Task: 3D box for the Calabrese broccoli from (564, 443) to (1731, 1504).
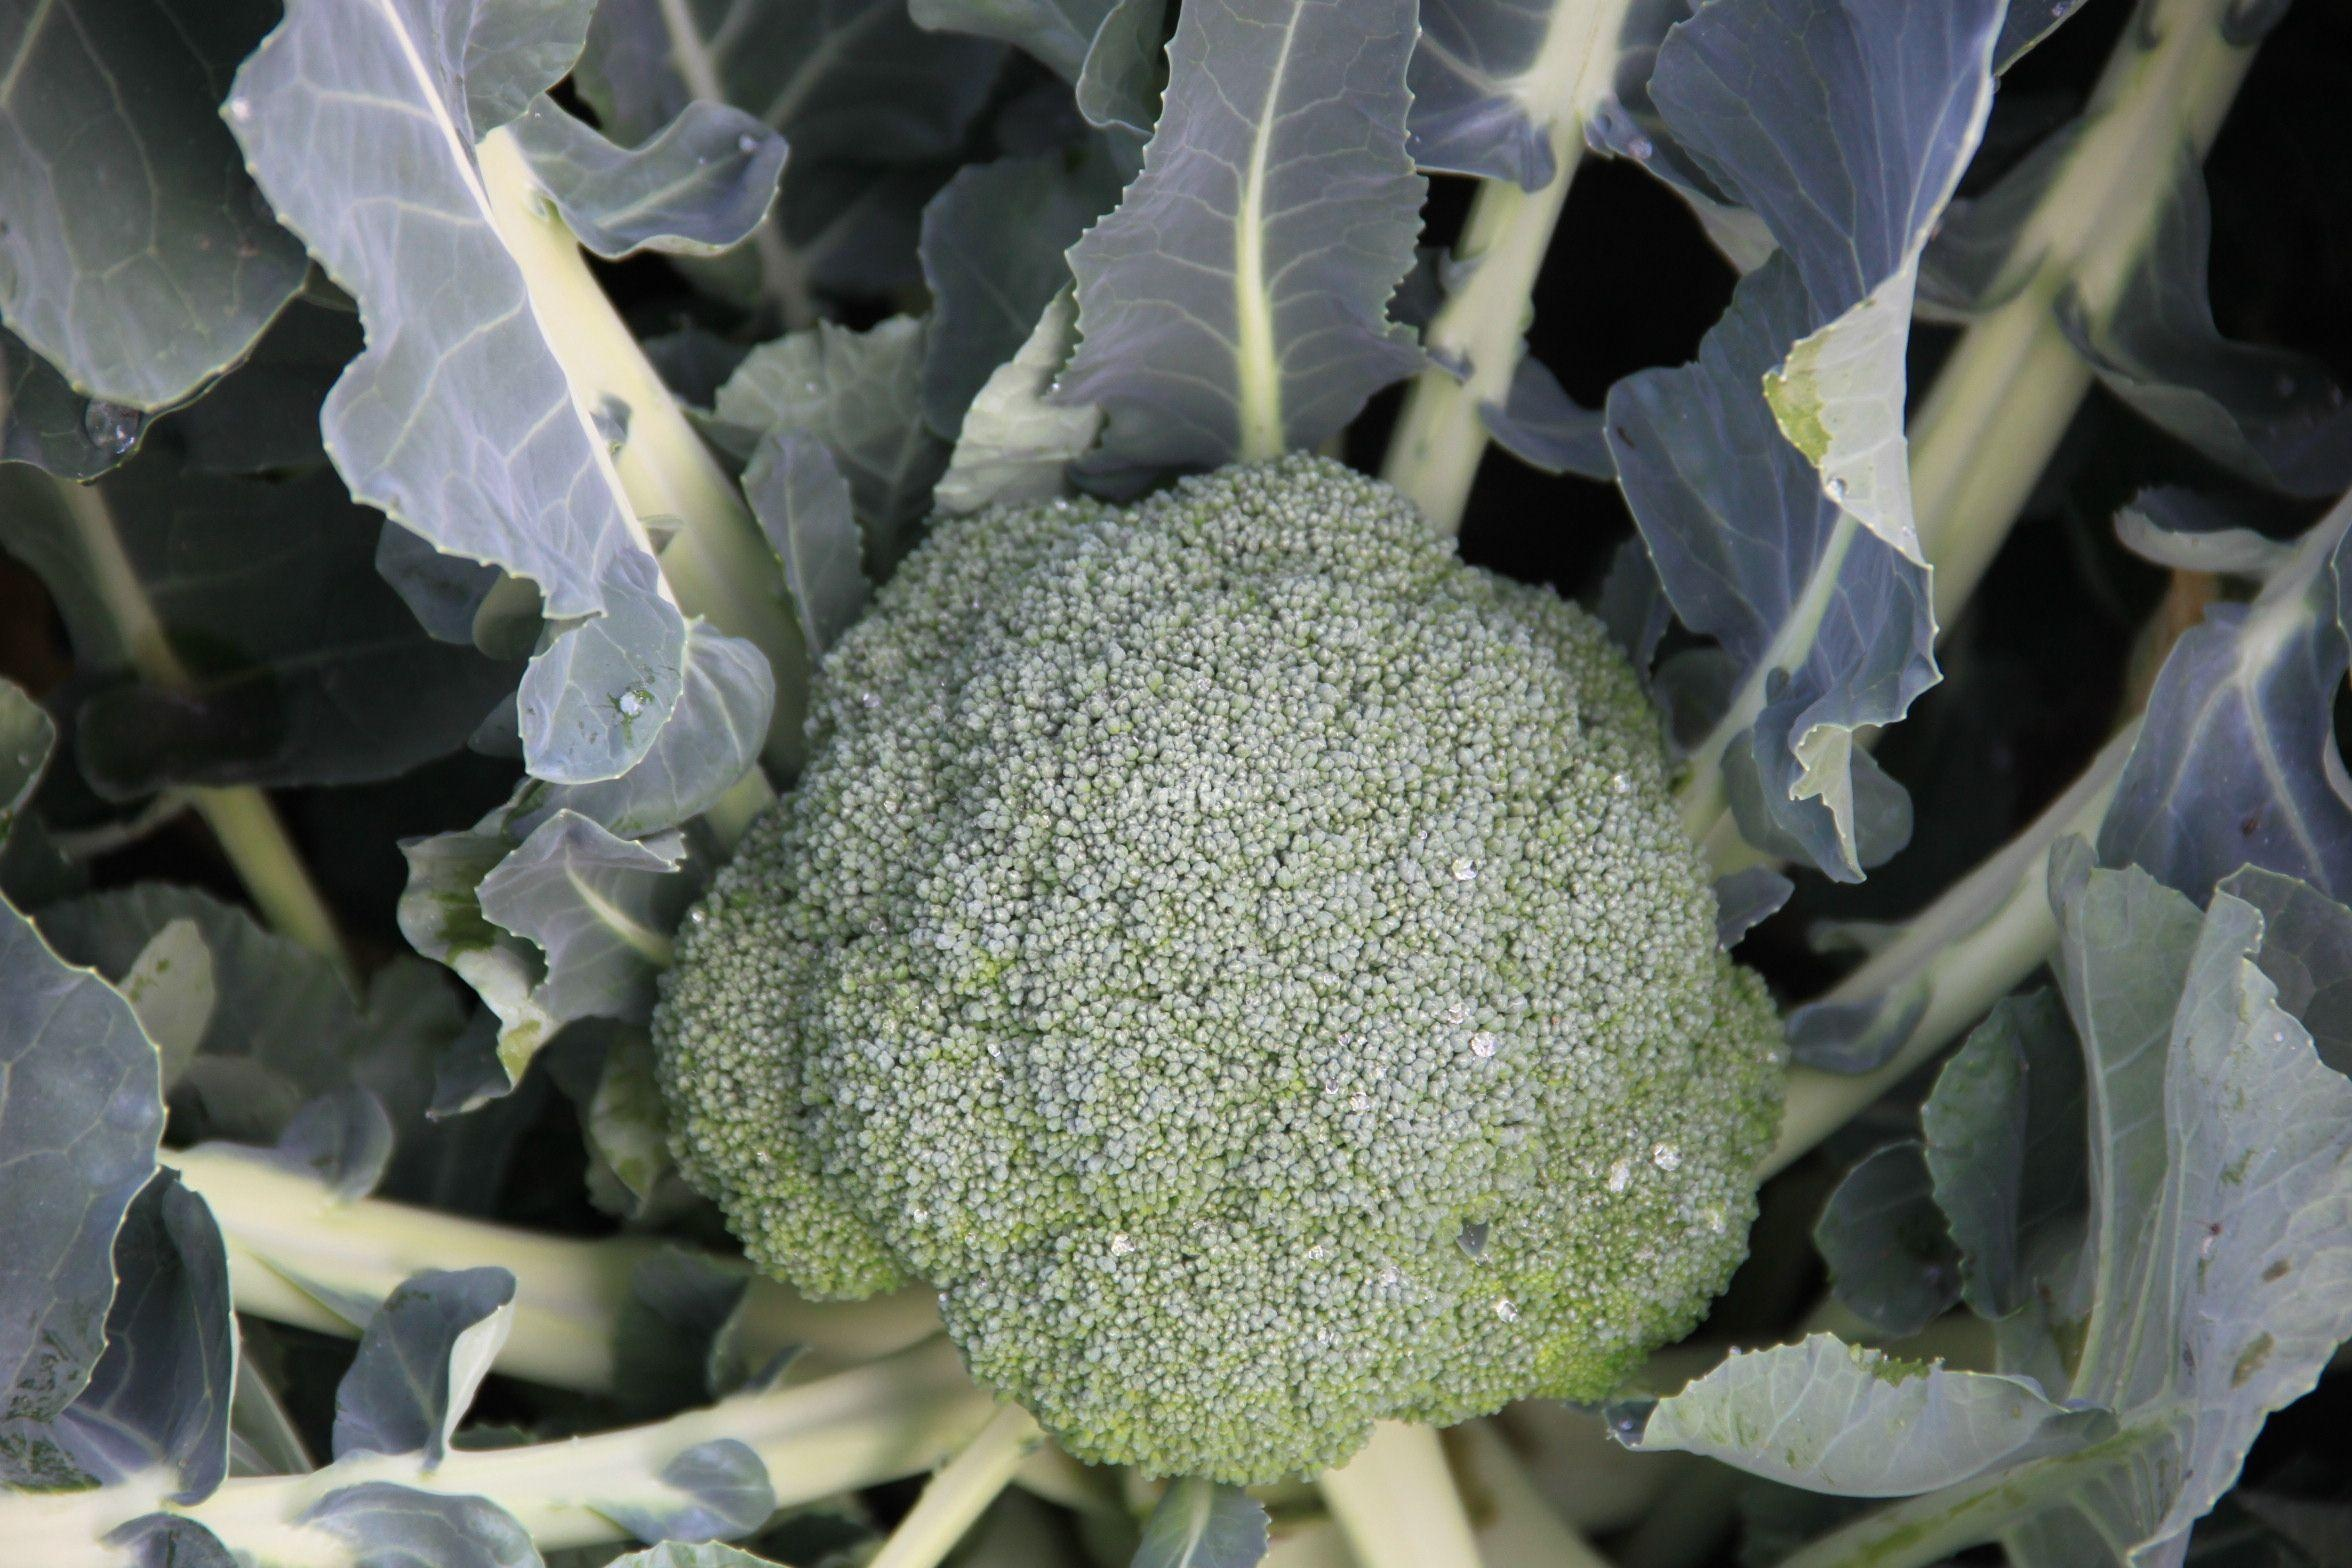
[{"bbox_3d":[0.072,0.178,2.495,0.966,0.483,0.836,32,59,16],"label":"Calabrese broccoli"}]
